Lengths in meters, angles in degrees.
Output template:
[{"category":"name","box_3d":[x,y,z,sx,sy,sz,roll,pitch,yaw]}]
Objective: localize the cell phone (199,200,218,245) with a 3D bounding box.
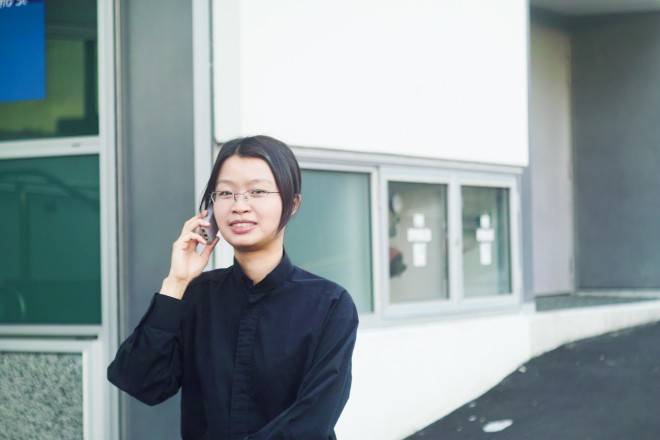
[{"category":"cell phone","box_3d":[-0.653,0.014,3.160,0.025,0.102,0.240,-17,34,22]}]
